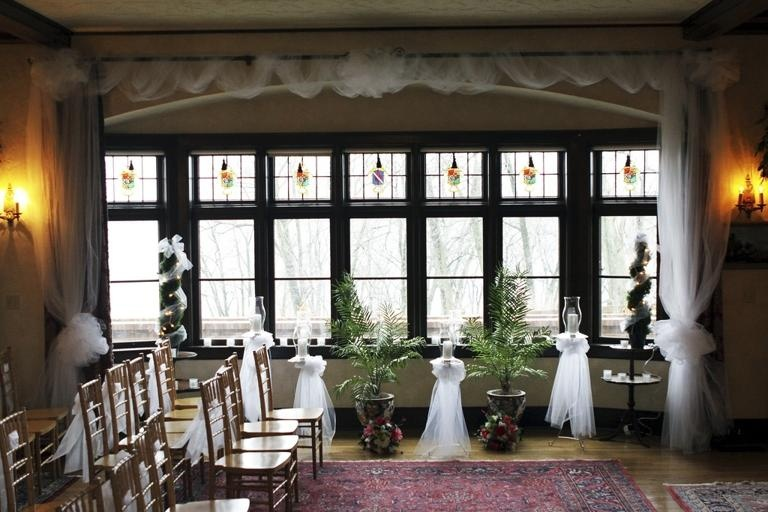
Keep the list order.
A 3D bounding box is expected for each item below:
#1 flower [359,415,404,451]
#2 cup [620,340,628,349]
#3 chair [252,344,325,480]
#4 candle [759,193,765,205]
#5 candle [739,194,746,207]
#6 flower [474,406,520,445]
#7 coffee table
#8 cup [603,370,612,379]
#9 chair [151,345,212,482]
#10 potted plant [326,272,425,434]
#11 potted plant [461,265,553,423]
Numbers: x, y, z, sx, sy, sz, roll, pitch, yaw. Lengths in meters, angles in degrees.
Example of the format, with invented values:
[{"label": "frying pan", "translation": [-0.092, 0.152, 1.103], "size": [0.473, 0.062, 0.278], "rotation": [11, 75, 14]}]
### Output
[{"label": "flower", "translation": [-0.030, 2.148, 8.073], "size": [0.453, 0.443, 0.422], "rotation": [6, 6, 21]}, {"label": "cup", "translation": [3.063, 1.127, 8.455], "size": [0.084, 0.077, 0.095], "rotation": [2, -4, -19]}, {"label": "chair", "translation": [-1.084, 1.761, 7.589], "size": [0.841, 1.348, 0.771], "rotation": [1, -1, 11]}, {"label": "candle", "translation": [4.575, -0.679, 8.058], "size": [0.064, 0.135, 0.082], "rotation": [6, 13, 31]}, {"label": "candle", "translation": [4.319, -0.672, 8.023], "size": [0.028, 0.125, 0.074], "rotation": [-10, 14, -40]}, {"label": "flower", "translation": [1.375, 2.117, 7.992], "size": [0.404, 0.441, 0.402], "rotation": [-2, 34, 15]}, {"label": "coffee table", "translation": [3.006, 1.860, 8.168], "size": [0.562, 0.675, 0.611], "rotation": [0, -1, 9]}, {"label": "cup", "translation": [2.766, 1.462, 8.181], "size": [0.104, 0.138, 0.127], "rotation": [1, -3, 1]}, {"label": "chair", "translation": [-2.208, 1.584, 7.368], "size": [0.455, 0.943, 0.500], "rotation": [-4, 6, 16]}, {"label": "potted plant", "translation": [0.140, 1.431, 8.406], "size": [0.946, 1.332, 1.287], "rotation": [5, -11, -34]}, {"label": "potted plant", "translation": [1.578, 1.059, 8.448], "size": [1.068, 1.740, 0.957], "rotation": [-5, 12, -22]}]
